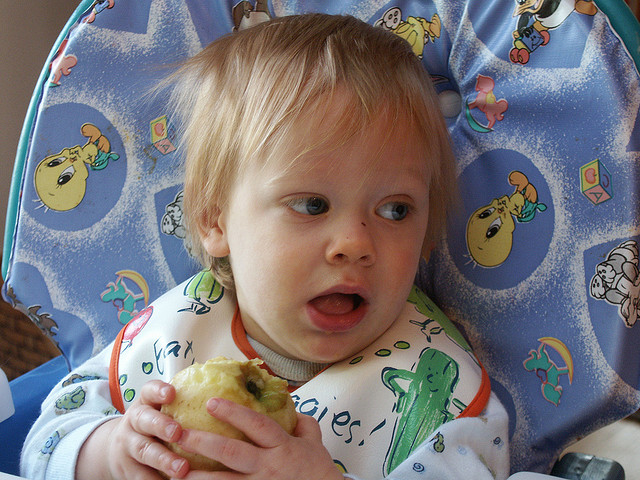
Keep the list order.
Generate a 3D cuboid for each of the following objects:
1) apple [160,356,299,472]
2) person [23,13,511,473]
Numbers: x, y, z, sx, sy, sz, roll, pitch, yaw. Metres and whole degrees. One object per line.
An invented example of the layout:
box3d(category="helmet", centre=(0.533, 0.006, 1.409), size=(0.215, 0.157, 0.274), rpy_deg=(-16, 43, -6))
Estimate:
box3d(category="apple", centre=(-0.128, 0.221, 0.910), size=(0.163, 0.170, 0.136), rpy_deg=(5, -2, -15))
box3d(category="person", centre=(-0.068, -0.006, 1.124), size=(0.593, 0.964, 0.513), rpy_deg=(-1, -11, 1))
